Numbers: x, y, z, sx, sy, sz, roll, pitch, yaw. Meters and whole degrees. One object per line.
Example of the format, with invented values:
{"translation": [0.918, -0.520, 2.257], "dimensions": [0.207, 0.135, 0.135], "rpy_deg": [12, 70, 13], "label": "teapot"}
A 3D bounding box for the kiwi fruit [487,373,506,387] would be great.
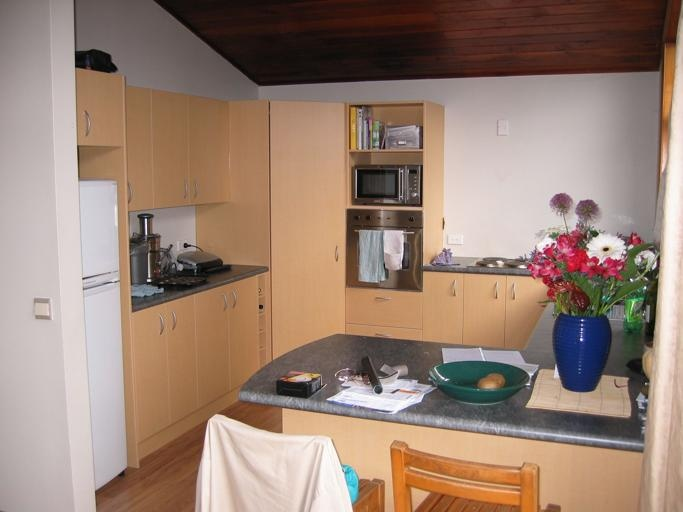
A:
{"translation": [0.628, 0.487, 2.143], "dimensions": [0.049, 0.050, 0.060], "rpy_deg": [8, 17, 12], "label": "kiwi fruit"}

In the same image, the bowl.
{"translation": [0.558, 0.519, 2.190], "dimensions": [0.390, 0.102, 0.310], "rpy_deg": [3, 11, 20], "label": "bowl"}

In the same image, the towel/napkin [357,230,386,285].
{"translation": [0.277, -0.007, 4.797], "dimensions": [0.245, 0.454, 0.125], "rpy_deg": [-1, 10, 2], "label": "towel/napkin"}

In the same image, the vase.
{"translation": [0.988, 0.402, 2.217], "dimensions": [0.228, 0.278, 0.233], "rpy_deg": [1, -5, 37], "label": "vase"}

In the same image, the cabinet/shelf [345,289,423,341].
{"translation": [0.391, 0.597, 5.115], "dimensions": [0.773, 0.454, 0.540], "rpy_deg": [7, -6, 4], "label": "cabinet/shelf"}

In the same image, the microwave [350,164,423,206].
{"translation": [0.436, -0.635, 4.771], "dimensions": [0.569, 0.349, 0.367], "rpy_deg": [2, 3, 18], "label": "microwave"}

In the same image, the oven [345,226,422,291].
{"translation": [0.418, -0.036, 4.909], "dimensions": [0.696, 0.615, 0.344], "rpy_deg": [2, 18, 15], "label": "oven"}

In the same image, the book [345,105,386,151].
{"translation": [0.213, -1.129, 4.803], "dimensions": [0.368, 0.536, 0.401], "rpy_deg": [4, 11, 19], "label": "book"}

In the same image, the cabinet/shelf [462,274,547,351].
{"translation": [1.444, 0.491, 4.714], "dimensions": [0.646, 0.624, 0.305], "rpy_deg": [2, 6, 17], "label": "cabinet/shelf"}

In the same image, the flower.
{"translation": [1.042, 0.007, 2.245], "dimensions": [0.470, 0.512, 0.472], "rpy_deg": [6, 21, 23], "label": "flower"}

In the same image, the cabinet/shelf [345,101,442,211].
{"translation": [0.434, -0.710, 4.994], "dimensions": [0.686, 0.935, 0.521], "rpy_deg": [0, -11, 8], "label": "cabinet/shelf"}

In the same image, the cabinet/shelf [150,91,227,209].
{"translation": [-1.217, -0.845, 4.241], "dimensions": [0.377, 0.842, 0.974], "rpy_deg": [7, 12, 30], "label": "cabinet/shelf"}

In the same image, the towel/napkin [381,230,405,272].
{"translation": [0.475, -0.050, 4.742], "dimensions": [0.190, 0.363, 0.104], "rpy_deg": [0, 10, 3], "label": "towel/napkin"}

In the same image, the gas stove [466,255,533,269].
{"translation": [1.447, 0.044, 4.792], "dimensions": [0.464, 0.037, 0.460], "rpy_deg": [2, 11, 16], "label": "gas stove"}

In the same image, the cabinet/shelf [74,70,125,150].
{"translation": [-1.557, -0.886, 3.237], "dimensions": [0.246, 0.451, 0.466], "rpy_deg": [9, 16, 10], "label": "cabinet/shelf"}
